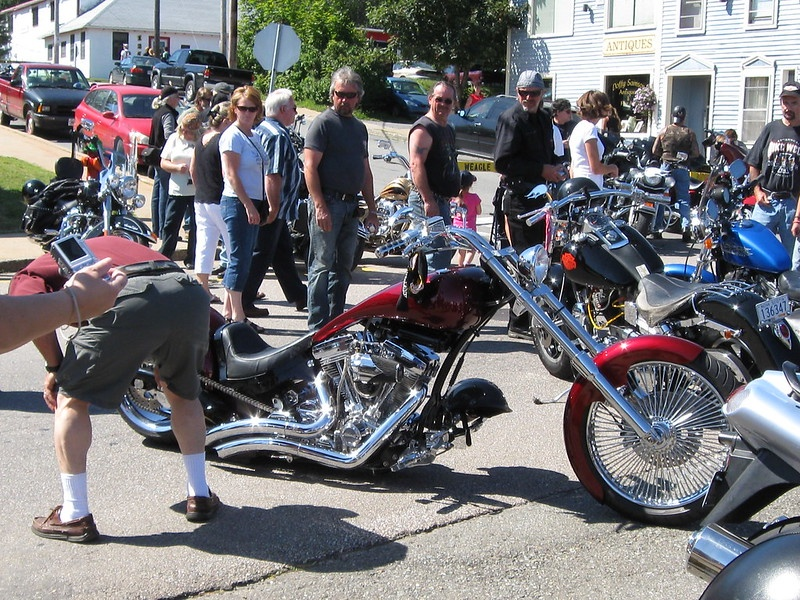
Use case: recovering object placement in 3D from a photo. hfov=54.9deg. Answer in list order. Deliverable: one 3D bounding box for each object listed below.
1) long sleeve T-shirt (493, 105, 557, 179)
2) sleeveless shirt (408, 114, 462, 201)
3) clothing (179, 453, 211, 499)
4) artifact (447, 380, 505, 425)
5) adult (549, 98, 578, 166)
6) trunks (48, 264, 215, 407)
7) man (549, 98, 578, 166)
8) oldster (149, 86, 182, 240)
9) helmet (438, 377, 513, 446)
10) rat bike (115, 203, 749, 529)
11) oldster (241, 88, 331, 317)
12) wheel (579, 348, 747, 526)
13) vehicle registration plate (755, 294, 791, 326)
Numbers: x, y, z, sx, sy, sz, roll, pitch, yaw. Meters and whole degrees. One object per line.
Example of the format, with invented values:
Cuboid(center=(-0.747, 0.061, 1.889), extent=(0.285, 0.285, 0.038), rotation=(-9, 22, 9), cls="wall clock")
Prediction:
Cuboid(center=(1.319, -1.544, 7.905), extent=(0.837, 0.881, 0.499), rotation=(-12, 18, -37), cls="long sleeve T-shirt")
Cuboid(center=(0.397, -1.412, 7.651), extent=(0.416, 0.826, 0.723), rotation=(4, 14, 22), cls="sleeveless shirt")
Cuboid(center=(-1.134, 1.018, 4.337), extent=(0.088, 0.216, 0.196), rotation=(-14, -7, 6), cls="clothing")
Cuboid(center=(0.477, 0.589, 4.688), extent=(0.432, 0.259, 0.338), rotation=(-3, -13, 4), cls="artifact")
Cuboid(center=(2.129, -2.196, 10.159), extent=(0.221, 0.757, 0.254), rotation=(-15, 53, -5), cls="adult")
Cuboid(center=(-1.367, 0.183, 3.920), extent=(0.705, 0.751, 0.385), rotation=(3, 22, -44), cls="trunks")
Cuboid(center=(2.157, -2.288, 10.244), extent=(0.285, 0.346, 0.923), rotation=(14, -16, 15), cls="man")
Cuboid(center=(-3.349, -1.999, 11.123), extent=(0.507, 2.022, 0.682), rotation=(2, 13, -30), cls="oldster")
Cuboid(center=(0.468, 0.658, 4.709), extent=(0.394, 0.387, 0.322), rotation=(10, -19, 11), cls="helmet")
Cuboid(center=(-0.068, 0.291, 4.719), extent=(4.005, 1.892, 1.691), rotation=(5, 19, 16), cls="rat bike")
Cuboid(center=(-1.253, -0.964, 7.849), extent=(0.696, 2.275, 0.821), rotation=(5, 14, 7), cls="oldster")
Cuboid(center=(1.433, 0.751, 4.220), extent=(0.789, 0.952, 0.173), rotation=(-6, 2, 21), cls="wheel")
Cuboid(center=(2.529, 0.075, 5.214), extent=(0.341, 0.194, 0.105), rotation=(-5, 15, -24), cls="vehicle registration plate")
